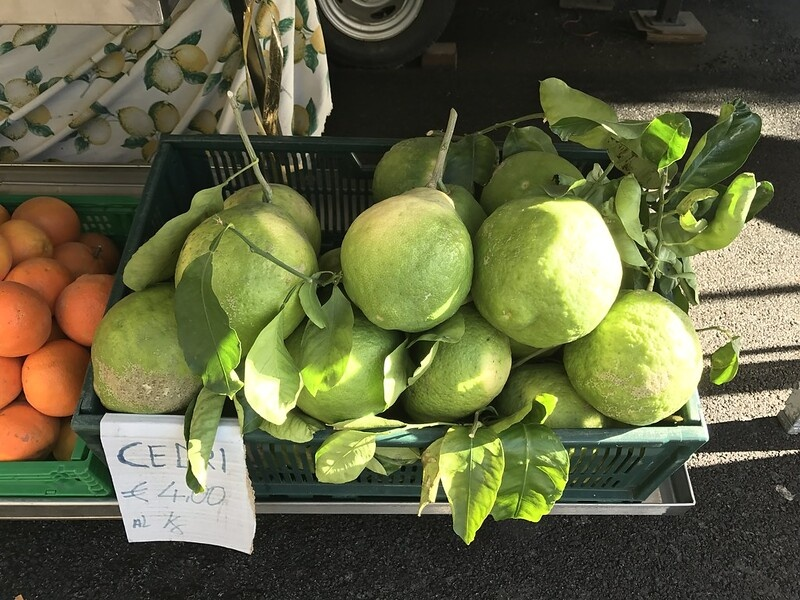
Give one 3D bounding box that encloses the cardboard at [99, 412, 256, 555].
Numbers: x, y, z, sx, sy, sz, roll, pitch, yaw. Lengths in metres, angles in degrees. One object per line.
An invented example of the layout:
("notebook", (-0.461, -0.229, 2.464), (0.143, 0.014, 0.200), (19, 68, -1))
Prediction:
("cardboard", (-0.433, 0.352, 1.548), (0.314, 0.299, 0.081), (-4, 35, 2))
